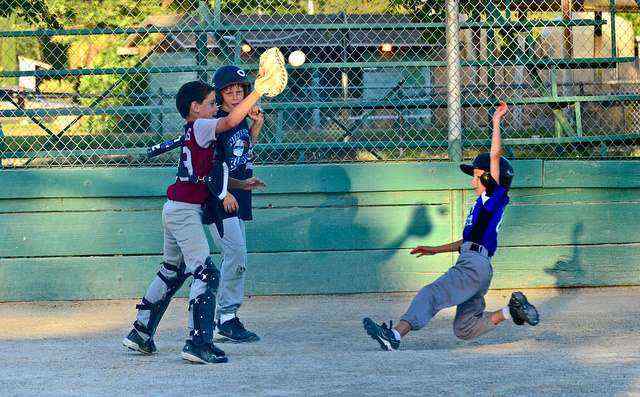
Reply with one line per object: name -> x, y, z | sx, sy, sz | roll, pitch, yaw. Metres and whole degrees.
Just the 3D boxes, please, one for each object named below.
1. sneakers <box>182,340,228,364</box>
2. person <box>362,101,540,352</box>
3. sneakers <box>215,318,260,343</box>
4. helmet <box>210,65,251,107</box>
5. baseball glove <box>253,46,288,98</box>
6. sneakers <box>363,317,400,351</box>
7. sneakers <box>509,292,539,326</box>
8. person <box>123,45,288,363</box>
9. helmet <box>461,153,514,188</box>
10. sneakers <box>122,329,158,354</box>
sneakers -> -1.215, 1.605, 9.083 | 0.533, 0.222, 0.180 | 6, -1, -13
person -> 1.512, 0.282, 9.407 | 1.547, 2.607, 0.659 | -2, 4, 2
sneakers -> -0.950, 1.468, 9.742 | 0.586, 0.243, 0.202 | 1, -2, 3
helmet -> -1.004, -1.240, 9.580 | 0.431, 0.386, 0.447 | -7, 3, -31
baseball glove -> -0.492, -1.258, 8.696 | 0.361, 0.467, 0.197 | 12, 1, 0
sneakers -> 0.654, 1.473, 9.324 | 0.235, 0.328, 0.109 | -44, -7, -24
sneakers -> 2.154, 1.182, 9.254 | 0.305, 0.364, 0.176 | -1, 5, 12
person -> -1.252, 0.096, 9.044 | 1.666, 3.214, 0.492 | 0, 5, 15
helmet -> 1.845, -0.341, 9.596 | 0.617, 0.278, 0.413 | 16, -8, 1
sneakers -> -1.901, 1.534, 9.289 | 0.404, 0.190, 0.175 | 26, 4, -23
